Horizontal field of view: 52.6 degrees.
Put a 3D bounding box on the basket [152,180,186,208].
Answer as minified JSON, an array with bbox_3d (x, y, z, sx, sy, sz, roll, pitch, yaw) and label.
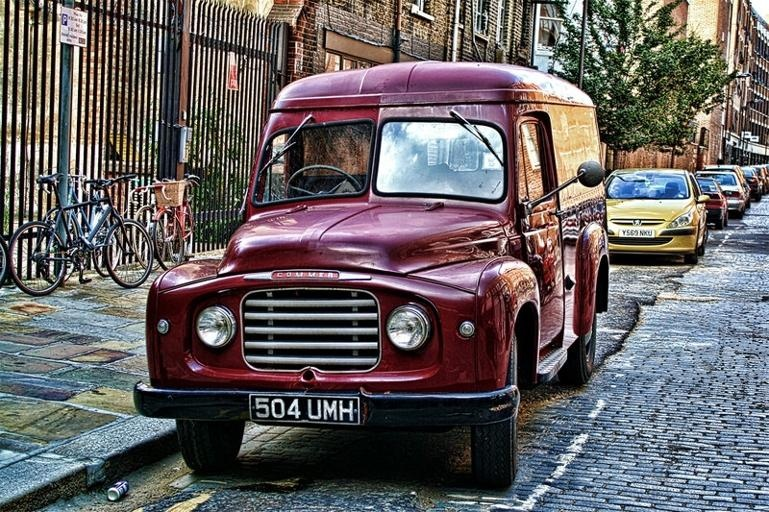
[{"bbox_3d":[-3.320,-0.965,11.992,0.458,0.330,0.407,0,5,8],"label":"basket"}]

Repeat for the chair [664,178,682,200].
[{"bbox_3d":[6.742,-1.562,18.408,0.305,0.387,0.412,4,18,9],"label":"chair"}]

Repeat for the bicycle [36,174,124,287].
[{"bbox_3d":[-4.180,-0.316,10.590,0.664,1.627,1.559,1,5,24],"label":"bicycle"}]

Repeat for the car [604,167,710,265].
[{"bbox_3d":[6.292,-0.952,18.212,1.917,2.225,2.863,3,6,42],"label":"car"}]

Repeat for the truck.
[{"bbox_3d":[0.182,-0.029,6.014,2.399,3.070,3.441,1,5,27],"label":"truck"}]
